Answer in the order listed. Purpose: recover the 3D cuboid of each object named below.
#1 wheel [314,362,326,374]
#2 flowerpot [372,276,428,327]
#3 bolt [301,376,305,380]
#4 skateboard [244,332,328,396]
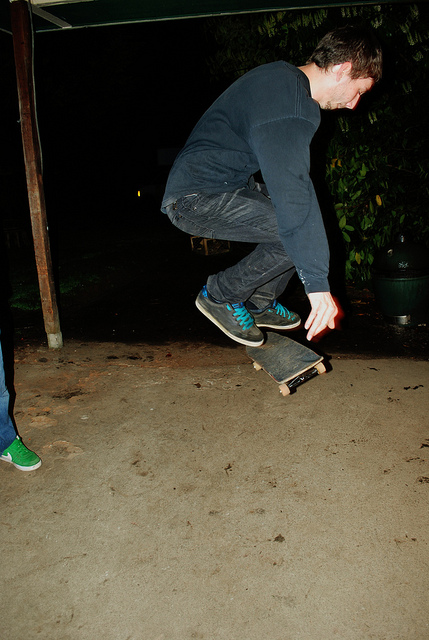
[{"bbox_3d":[0.656,0.307,3.119,0.061,0.084,0.153,0,13,11],"label":"wheel"},{"bbox_3d":[1.885,-0.207,5.124,0.546,0.407,0.505,-2,13,21],"label":"flowerpot"},{"bbox_3d":[0.540,0.357,3.044,0.016,0.007,0.025,-16,52,-6],"label":"bolt"},{"bbox_3d":[0.448,0.271,3.457,0.362,0.172,0.825,-34,23,-7],"label":"skateboard"}]
